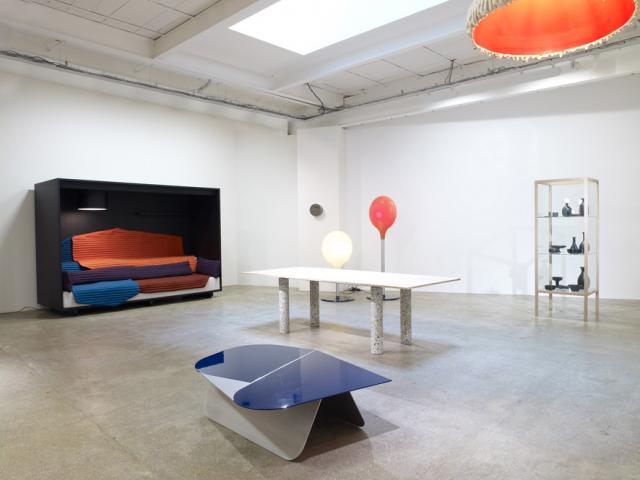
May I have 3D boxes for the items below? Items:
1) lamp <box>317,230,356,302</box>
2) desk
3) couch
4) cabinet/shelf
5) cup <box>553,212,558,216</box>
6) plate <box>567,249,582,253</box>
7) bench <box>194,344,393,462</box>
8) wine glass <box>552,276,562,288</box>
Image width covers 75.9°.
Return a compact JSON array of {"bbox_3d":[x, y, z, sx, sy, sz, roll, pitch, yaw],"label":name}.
[{"bbox_3d":[0.357,0.512,8.022,0.672,1.339,0.684,0,2,7],"label":"lamp"},{"bbox_3d":[0.401,0.856,5.349,1.248,0.869,2.327,-4,5,-38],"label":"desk"},{"bbox_3d":[-3.447,0.477,7.942,1.232,1.353,2.695,6,4,38],"label":"couch"},{"bbox_3d":[3.690,0.133,6.099,0.971,2.066,0.627,0,5,15],"label":"cabinet/shelf"},{"bbox_3d":[3.485,-0.381,6.071,0.052,0.051,0.052,1,-4,0],"label":"cup"},{"bbox_3d":[3.682,0.171,5.920,0.186,0.070,0.016,3,6,38],"label":"plate"},{"bbox_3d":[-0.224,1.220,3.615,1.350,0.508,1.986,-22,2,-29],"label":"bench"},{"bbox_3d":[3.534,0.630,6.106,0.141,0.154,0.145,1,1,38],"label":"wine glass"}]
